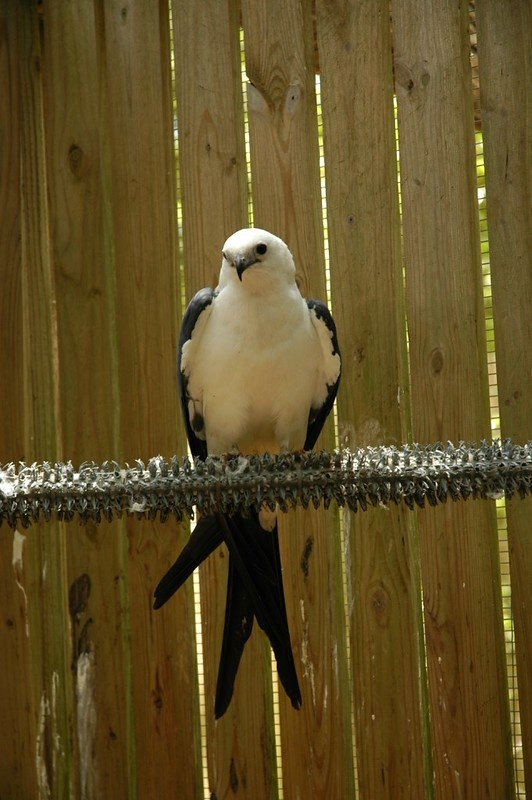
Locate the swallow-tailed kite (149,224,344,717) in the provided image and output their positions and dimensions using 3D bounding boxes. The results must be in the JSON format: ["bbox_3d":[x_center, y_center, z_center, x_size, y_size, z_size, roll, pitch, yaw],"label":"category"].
[{"bbox_3d":[-0.025,0.173,4.579,0.478,1.309,0.750,-1,8,3],"label":"swallow-tailed kite"}]
